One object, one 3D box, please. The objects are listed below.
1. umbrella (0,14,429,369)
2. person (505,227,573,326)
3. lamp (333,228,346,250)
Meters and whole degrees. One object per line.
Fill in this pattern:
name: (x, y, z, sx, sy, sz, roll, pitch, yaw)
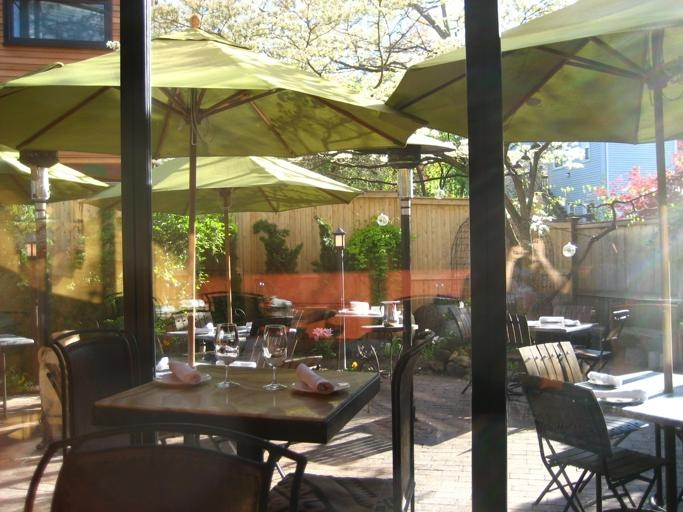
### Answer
umbrella: (-0.963, -0.574, 5.168, 2.171, 1.856, 2.363, -1, 0, 1)
person: (2.760, 0.333, 9.820, 1.403, 1.495, 0.365, -2, 1, -4)
lamp: (-0.023, -0.228, 9.163, 0.217, 0.333, 0.232, 1, -3, 0)
